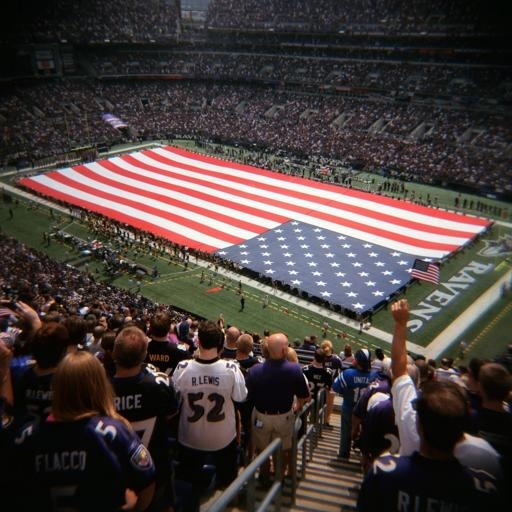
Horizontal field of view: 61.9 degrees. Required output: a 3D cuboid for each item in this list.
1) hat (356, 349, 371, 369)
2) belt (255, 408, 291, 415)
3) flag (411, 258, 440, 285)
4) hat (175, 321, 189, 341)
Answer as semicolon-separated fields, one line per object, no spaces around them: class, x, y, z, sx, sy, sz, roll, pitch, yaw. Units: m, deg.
hat;1.917;1.816;7.664;0.275;0.323;0.399;5;2;13
belt;0.228;2.258;6.205;0.551;0.068;0.155;4;2;8
flag;10.485;1.004;26.455;1.937;1.520;0.169;14;-15;36
hat;-1.595;1.623;9.230;0.241;0.467;0.674;5;2;-11
